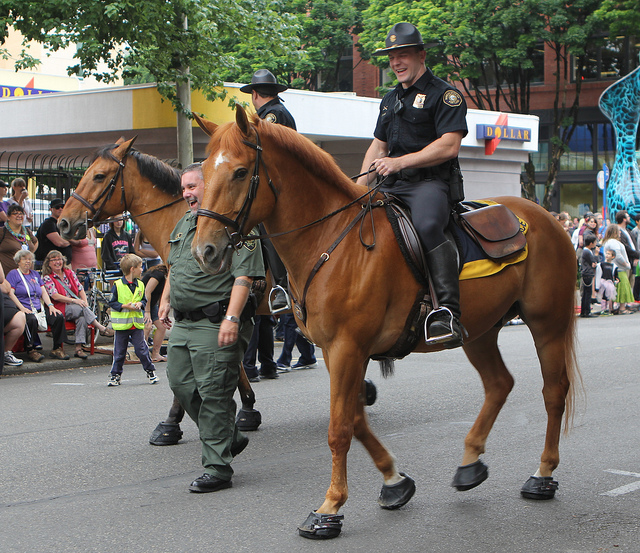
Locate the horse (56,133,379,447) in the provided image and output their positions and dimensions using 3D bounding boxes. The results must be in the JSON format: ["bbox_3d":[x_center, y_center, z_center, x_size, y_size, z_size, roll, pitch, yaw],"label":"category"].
[{"bbox_3d":[-1.968,-0.006,10.888,4.505,2.728,1.417,0,1,-12],"label":"horse"}]

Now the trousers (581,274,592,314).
[{"bbox_3d":[5.752,0.358,20.867,0.241,0.879,0.332,-3,10,8],"label":"trousers"}]

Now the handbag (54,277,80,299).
[{"bbox_3d":[-3.708,0.165,14.140,0.531,0.070,0.059,35,-8,-7],"label":"handbag"}]

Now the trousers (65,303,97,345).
[{"bbox_3d":[-3.592,0.772,14.286,0.538,0.470,1.158,-3,-4,-7],"label":"trousers"}]

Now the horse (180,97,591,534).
[{"bbox_3d":[0.568,0.416,7.578,4.587,2.810,1.404,1,-8,-39],"label":"horse"}]

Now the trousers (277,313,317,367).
[{"bbox_3d":[-0.376,0.829,13.133,0.287,0.805,0.800,1,2,43],"label":"trousers"}]

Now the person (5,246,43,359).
[{"bbox_3d":[-4.099,0.396,13.500,0.417,1.518,0.631,-8,10,-15],"label":"person"}]
